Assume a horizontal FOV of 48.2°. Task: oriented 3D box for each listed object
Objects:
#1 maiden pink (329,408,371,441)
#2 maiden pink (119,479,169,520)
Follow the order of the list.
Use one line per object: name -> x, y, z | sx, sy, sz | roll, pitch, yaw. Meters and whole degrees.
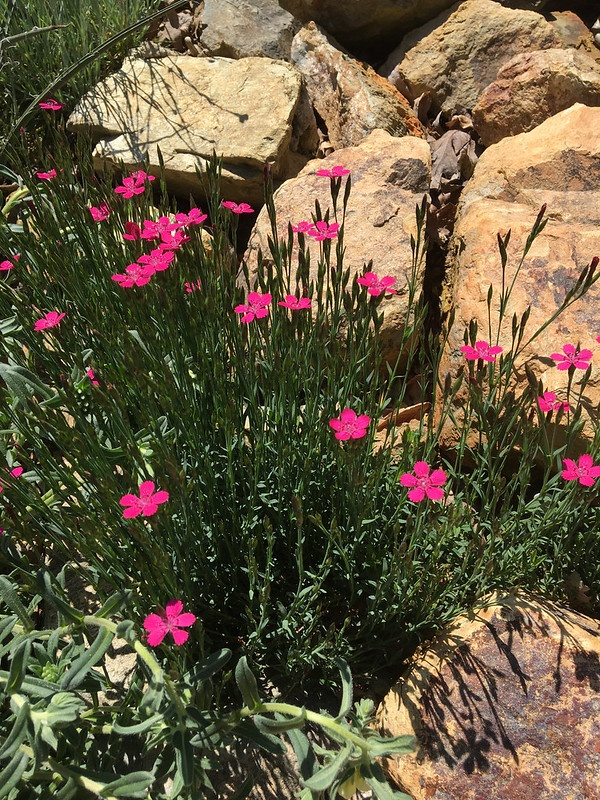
maiden pink -> 0.126, 0.066, 1.616 | 0.079, 0.032, 0.079 | 33, 51, 30
maiden pink -> -0.309, 0.211, 1.337 | 0.081, 0.027, 0.085 | -19, 41, -7
